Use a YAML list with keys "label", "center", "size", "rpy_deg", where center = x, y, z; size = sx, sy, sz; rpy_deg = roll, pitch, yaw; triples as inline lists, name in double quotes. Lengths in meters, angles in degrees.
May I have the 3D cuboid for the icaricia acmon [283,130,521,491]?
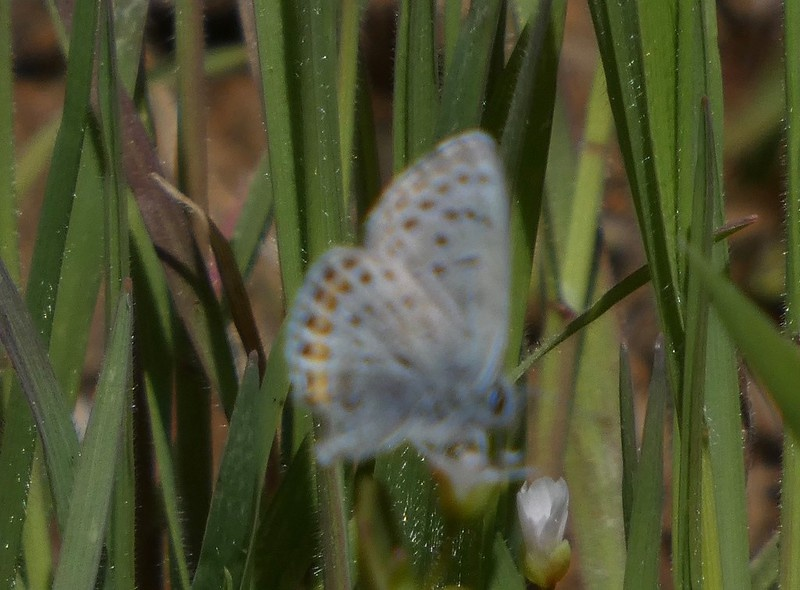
- label: "icaricia acmon"
  center: [0.007, 0.022, 1.357]
  size: [0.179, 0.341, 0.280]
  rpy_deg: [-4, 93, 2]
